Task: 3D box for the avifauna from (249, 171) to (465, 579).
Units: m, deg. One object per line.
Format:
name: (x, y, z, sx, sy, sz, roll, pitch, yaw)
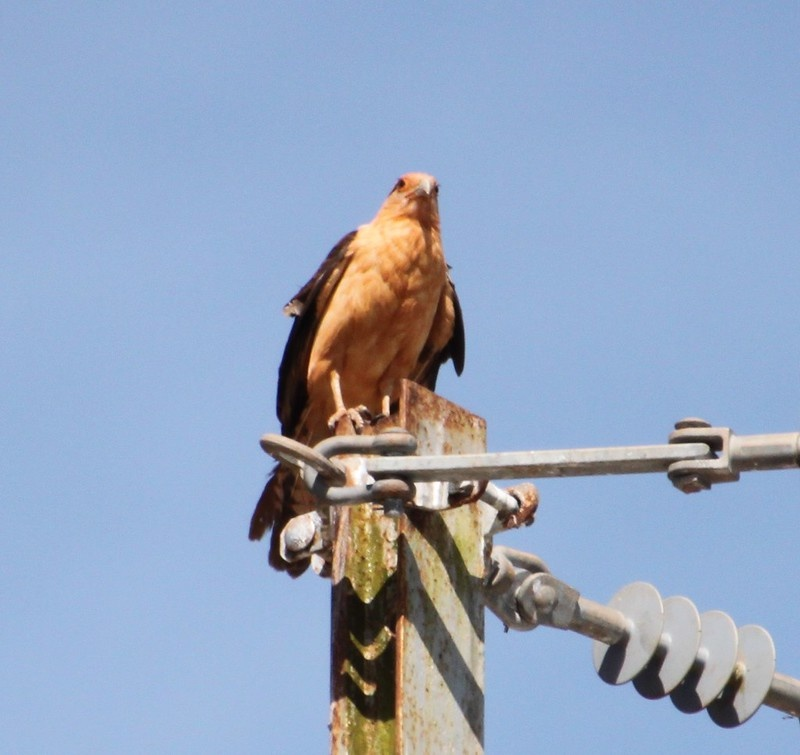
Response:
avifauna: (-0.087, 0.248, 12.046, 0.773, 1.334, 2.279, 15, -61, -13)
